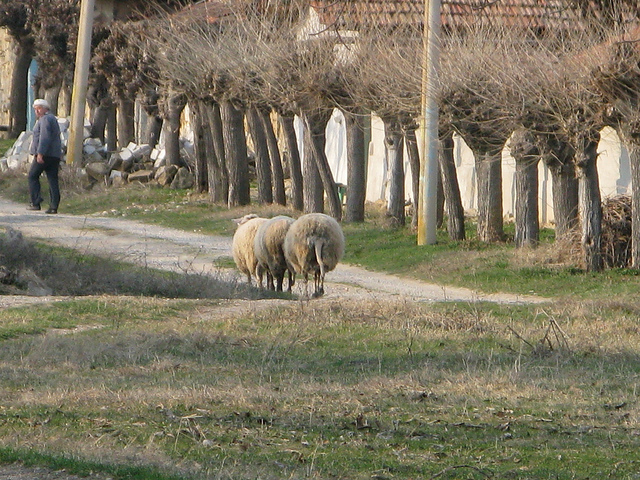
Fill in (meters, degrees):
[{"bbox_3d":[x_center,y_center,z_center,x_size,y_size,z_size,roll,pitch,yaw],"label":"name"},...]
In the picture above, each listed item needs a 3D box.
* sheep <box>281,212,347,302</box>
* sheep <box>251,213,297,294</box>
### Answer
[{"bbox_3d":[-0.162,0.387,33.685,1.209,1.714,0.746,2,14,0],"label":"sheep"},{"bbox_3d":[-0.903,0.237,34.554,0.822,1.720,0.866,-5,12,-28],"label":"sheep"}]
